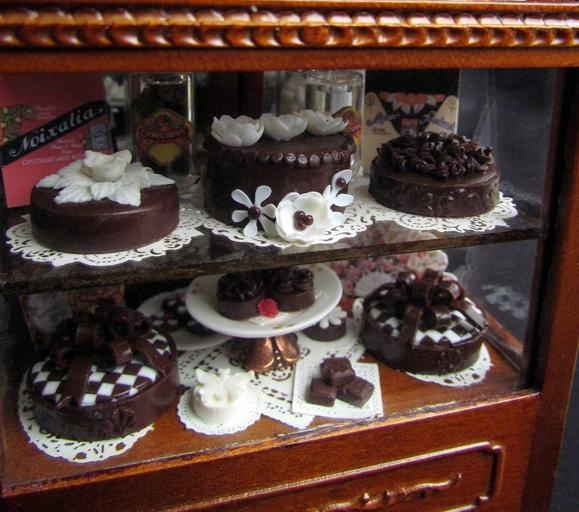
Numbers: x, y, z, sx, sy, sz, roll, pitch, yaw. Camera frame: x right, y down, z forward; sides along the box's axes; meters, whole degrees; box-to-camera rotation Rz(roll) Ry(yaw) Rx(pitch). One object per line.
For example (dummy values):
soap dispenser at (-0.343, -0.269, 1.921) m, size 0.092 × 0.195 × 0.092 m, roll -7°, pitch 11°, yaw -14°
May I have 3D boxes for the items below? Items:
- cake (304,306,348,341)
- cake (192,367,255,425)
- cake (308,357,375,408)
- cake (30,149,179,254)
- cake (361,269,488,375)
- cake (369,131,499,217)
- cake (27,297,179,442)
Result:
cake at (0.088, 0.153, 1.225) m, size 0.087 × 0.036 × 0.080 m, roll 14°, pitch 30°, yaw 30°
cake at (-0.128, 0.259, 0.991) m, size 0.121 × 0.062 × 0.102 m, roll 0°, pitch 22°, yaw -3°
cake at (0.095, 0.245, 1.044) m, size 0.103 × 0.023 × 0.101 m, roll 17°, pitch 25°, yaw 37°
cake at (-0.282, -0.095, 0.892) m, size 0.238 × 0.090 × 0.210 m, roll 14°, pitch 26°, yaw 20°
cake at (0.283, 0.140, 1.180) m, size 0.282 × 0.129 × 0.241 m, roll -5°, pitch 26°, yaw -6°
cake at (0.280, -0.149, 0.986) m, size 0.217 × 0.091 × 0.217 m, roll 17°, pitch 24°, yaw 40°
cake at (-0.326, 0.216, 1.026) m, size 0.300 × 0.133 × 0.249 m, roll 3°, pitch 26°, yaw 2°
